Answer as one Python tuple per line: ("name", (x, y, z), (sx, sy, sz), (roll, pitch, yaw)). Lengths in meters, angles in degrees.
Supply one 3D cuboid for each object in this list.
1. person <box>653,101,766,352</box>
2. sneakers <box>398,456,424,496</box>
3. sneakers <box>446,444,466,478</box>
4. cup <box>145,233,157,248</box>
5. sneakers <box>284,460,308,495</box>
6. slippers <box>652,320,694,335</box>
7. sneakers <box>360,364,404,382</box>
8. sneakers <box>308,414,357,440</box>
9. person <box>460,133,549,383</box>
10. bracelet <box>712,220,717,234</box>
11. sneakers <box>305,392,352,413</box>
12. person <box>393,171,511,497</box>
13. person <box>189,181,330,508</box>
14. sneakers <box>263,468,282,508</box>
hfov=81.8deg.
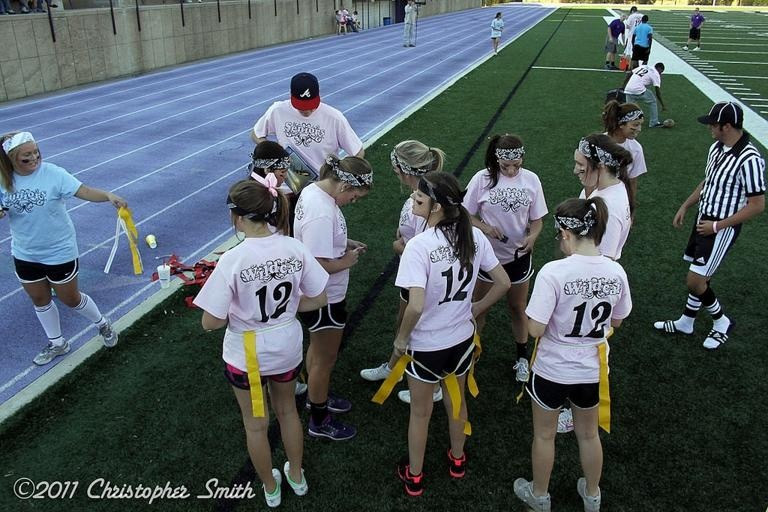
("person", (3.961, -0.380, 5.296), (0.846, 2.755, 1.194), (13, 30, 31))
("sneakers", (0.220, 1.955, 3.978), (0.167, 0.163, 0.416), (-1, 14, -10))
("sneakers", (0.664, 1.926, 4.045), (0.107, 0.117, 0.275), (0, -1, 4))
("cup", (-4.054, -0.266, 7.682), (0.136, 0.136, 0.185), (-27, 30, -14))
("sneakers", (-0.813, 1.919, 3.936), (0.146, 0.166, 0.387), (-7, 45, -23))
("slippers", (3.645, 0.912, 5.593), (0.250, 0.178, 0.107), (14, 27, 39))
("sneakers", (-0.060, 1.311, 4.947), (0.505, 0.214, 0.170), (-3, 69, -8))
("sneakers", (-0.504, 1.693, 4.417), (0.504, 0.216, 0.198), (3, 12, 2))
("person", (1.314, 0.111, 5.035), (1.018, 2.854, 0.947), (7, 21, 24))
("bracelet", (3.841, -0.351, 5.167), (0.038, 0.103, 0.080), (2, 10, 19))
("sneakers", (-0.577, 1.565, 4.599), (0.517, 0.220, 0.187), (1, 26, -1))
("person", (0.485, 0.698, 3.700), (0.692, 2.662, 1.166), (13, 30, 30))
("person", (-0.882, 0.767, 3.604), (0.644, 2.691, 0.890), (21, 35, 40))
("sneakers", (-0.935, 2.015, 3.808), (0.125, 0.148, 0.350), (-1, 64, -1))
